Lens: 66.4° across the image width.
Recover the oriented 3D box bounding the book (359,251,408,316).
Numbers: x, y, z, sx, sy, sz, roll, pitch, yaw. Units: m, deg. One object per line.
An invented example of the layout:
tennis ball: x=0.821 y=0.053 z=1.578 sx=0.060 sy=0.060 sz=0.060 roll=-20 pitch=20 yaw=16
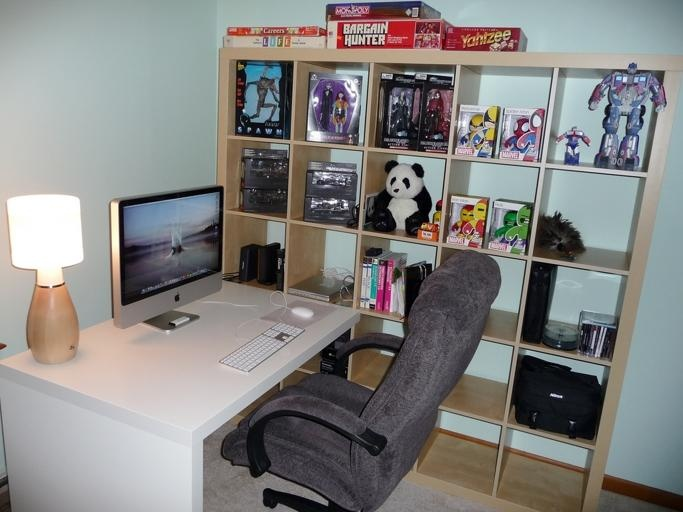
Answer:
book: x=0.259 y=0.101 z=3.029 sx=0.275 sy=0.374 sz=0.381 roll=8 pitch=7 yaw=18

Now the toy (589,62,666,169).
toy: x=1.293 y=-0.632 z=2.384 sx=0.308 sy=0.454 sz=0.120 roll=13 pitch=19 yaw=28

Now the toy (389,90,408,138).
toy: x=0.301 y=-0.732 z=2.714 sx=0.096 sy=0.220 sz=0.036 roll=7 pitch=17 yaw=11

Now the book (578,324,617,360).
book: x=1.248 y=0.414 z=2.539 sx=0.158 sy=0.167 sz=0.039 roll=6 pitch=9 yaw=14

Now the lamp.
lamp: x=-1.222 y=0.095 z=2.196 sx=0.261 sy=0.676 sz=0.253 roll=-7 pitch=19 yaw=-31

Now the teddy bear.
teddy bear: x=0.338 y=-0.319 z=2.949 sx=0.309 sy=0.401 sz=0.307 roll=2 pitch=28 yaw=8

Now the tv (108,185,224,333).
tv: x=-0.831 y=0.021 z=2.483 sx=0.243 sy=0.580 sz=0.603 roll=8 pitch=15 yaw=22

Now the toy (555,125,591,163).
toy: x=1.104 y=-0.523 z=2.492 sx=0.125 sy=0.169 sz=0.153 roll=13 pitch=19 yaw=29

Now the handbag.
handbag: x=1.153 y=0.756 z=2.822 sx=0.423 sy=0.372 sz=0.304 roll=24 pitch=65 yaw=21
